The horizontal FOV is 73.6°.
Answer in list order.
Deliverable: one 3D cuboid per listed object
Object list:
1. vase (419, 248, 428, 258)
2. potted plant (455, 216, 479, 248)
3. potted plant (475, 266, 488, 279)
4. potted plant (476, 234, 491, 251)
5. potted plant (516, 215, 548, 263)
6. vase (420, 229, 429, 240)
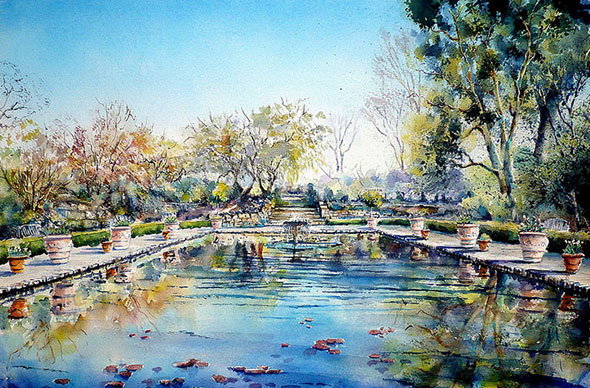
[{"bbox_3d":[4.462,2.049,13.607,0.176,0.297,0.268,-4,14,-13],"label":"vase"},{"bbox_3d":[5.828,1.380,13.442,0.678,1.049,0.948,6,15,22],"label":"potted plant"},{"bbox_3d":[4.997,2.102,10.537,0.250,0.267,0.250,-3,4,-19],"label":"potted plant"},{"bbox_3d":[6.202,1.611,12.946,0.476,0.507,0.501,1,-8,4],"label":"potted plant"},{"bbox_3d":[6.914,1.366,11.481,0.970,1.416,0.941,2,-10,-5],"label":"potted plant"},{"bbox_3d":[5.259,1.665,16.210,0.391,0.390,0.419,0,0,42],"label":"vase"}]
